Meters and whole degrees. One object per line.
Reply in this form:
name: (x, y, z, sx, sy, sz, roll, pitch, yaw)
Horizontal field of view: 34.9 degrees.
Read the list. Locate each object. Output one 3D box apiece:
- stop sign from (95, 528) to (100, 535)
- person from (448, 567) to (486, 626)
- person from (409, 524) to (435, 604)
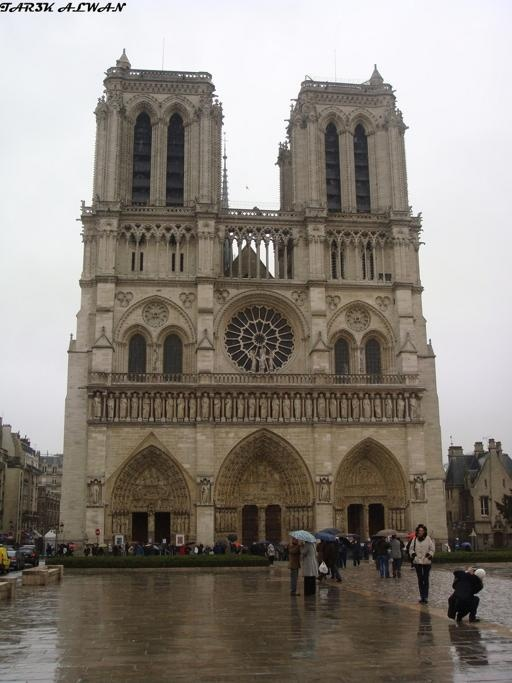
stop sign: (-8.742, 10.388, 44.649, 0.322, 0.359, 0.048, -1, -15, -4)
person: (3.544, 4.307, 14.175, 0.521, 0.789, 1.143, -3, -4, 36)
person: (3.546, 4.723, 17.350, 0.471, 1.589, 1.597, -4, -13, 10)
